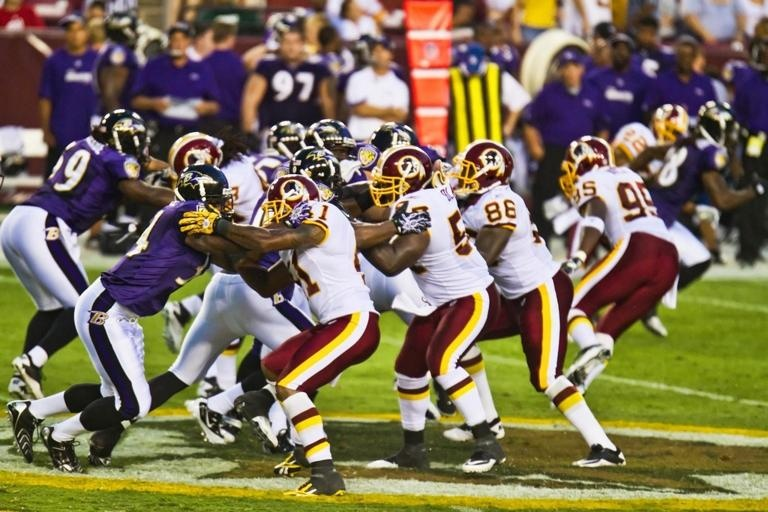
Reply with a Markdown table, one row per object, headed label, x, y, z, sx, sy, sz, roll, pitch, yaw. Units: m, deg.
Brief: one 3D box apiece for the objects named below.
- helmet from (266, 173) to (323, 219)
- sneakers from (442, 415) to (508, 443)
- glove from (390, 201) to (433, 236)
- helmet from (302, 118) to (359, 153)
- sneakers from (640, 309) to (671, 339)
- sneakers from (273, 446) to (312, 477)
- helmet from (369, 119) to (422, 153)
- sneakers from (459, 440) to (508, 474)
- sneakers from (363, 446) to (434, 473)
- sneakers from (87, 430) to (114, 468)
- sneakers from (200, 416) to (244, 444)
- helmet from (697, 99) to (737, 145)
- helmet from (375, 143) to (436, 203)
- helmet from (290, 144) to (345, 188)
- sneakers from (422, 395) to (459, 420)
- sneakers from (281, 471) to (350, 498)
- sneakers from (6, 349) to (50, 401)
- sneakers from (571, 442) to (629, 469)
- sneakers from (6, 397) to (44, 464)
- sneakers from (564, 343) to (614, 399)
| label | x | y | z | sx | sy | sz | roll | pitch | yaw |
| --- | --- | --- | --- | --- | --- | --- | --- | --- | --- |
| helmet | -0.632 | -0.426 | 7.438 | 0.357 | 0.293 | 0.265 | -4 | -4 | 6 |
| sneakers | 0.712 | 1.335 | 8.422 | 0.539 | 0.239 | 0.197 | 0 | -4 | 2 |
| glove | 0.213 | -0.286 | 7.471 | 0.237 | 0.214 | 0.068 | 9 | -31 | -4 |
| helmet | -0.433 | -0.973 | 8.607 | 0.354 | 0.275 | 0.262 | -7 | 10 | 4 |
| sneakers | 2.800 | 0.686 | 10.985 | 0.136 | 0.282 | 0.391 | -31 | 45 | -20 |
| sneakers | -0.619 | 1.459 | 7.720 | 0.347 | 0.234 | 0.117 | -11 | -3 | -5 |
| helmet | 0.111 | -0.947 | 8.476 | 0.339 | 0.273 | 0.256 | -15 | 39 | -27 |
| sneakers | 0.731 | 1.426 | 7.734 | 0.345 | 0.166 | 0.161 | -6 | 1 | -45 |
| sneakers | 0.111 | 1.433 | 7.801 | 0.469 | 0.153 | 0.167 | 0 | 12 | -1 |
| sneakers | -2.030 | 1.352 | 7.725 | 0.182 | 0.268 | 0.136 | -6 | 13 | -29 |
| sneakers | -1.239 | 1.325 | 8.220 | 0.143 | 0.163 | 0.412 | 11 | -9 | 41 |
| helmet | 3.214 | -1.318 | 10.300 | 0.329 | 0.426 | 0.395 | -10 | 11 | -12 |
| helmet | 0.149 | -0.609 | 7.803 | 0.445 | 0.369 | 0.356 | -6 | 9 | 0 |
| helmet | -0.486 | -0.671 | 7.681 | 0.329 | 0.282 | 0.259 | -5 | 30 | -3 |
| sneakers | 0.478 | 1.248 | 8.876 | 0.377 | 0.175 | 0.132 | -15 | -12 | 42 |
| sneakers | -0.462 | 1.535 | 7.324 | 0.443 | 0.187 | 0.150 | 1 | -6 | 3 |
| sneakers | -2.906 | 0.968 | 8.622 | 0.175 | 0.241 | 0.534 | -15 | -45 | 25 |
| sneakers | 1.591 | 1.447 | 7.838 | 0.404 | 0.183 | 0.148 | 1 | -2 | -3 |
| sneakers | -2.607 | 1.238 | 7.807 | 0.218 | 0.408 | 0.284 | -6 | 13 | -29 |
| sneakers | 1.614 | 0.893 | 8.722 | 0.471 | 0.256 | 0.190 | -32 | 6 | -17 |
